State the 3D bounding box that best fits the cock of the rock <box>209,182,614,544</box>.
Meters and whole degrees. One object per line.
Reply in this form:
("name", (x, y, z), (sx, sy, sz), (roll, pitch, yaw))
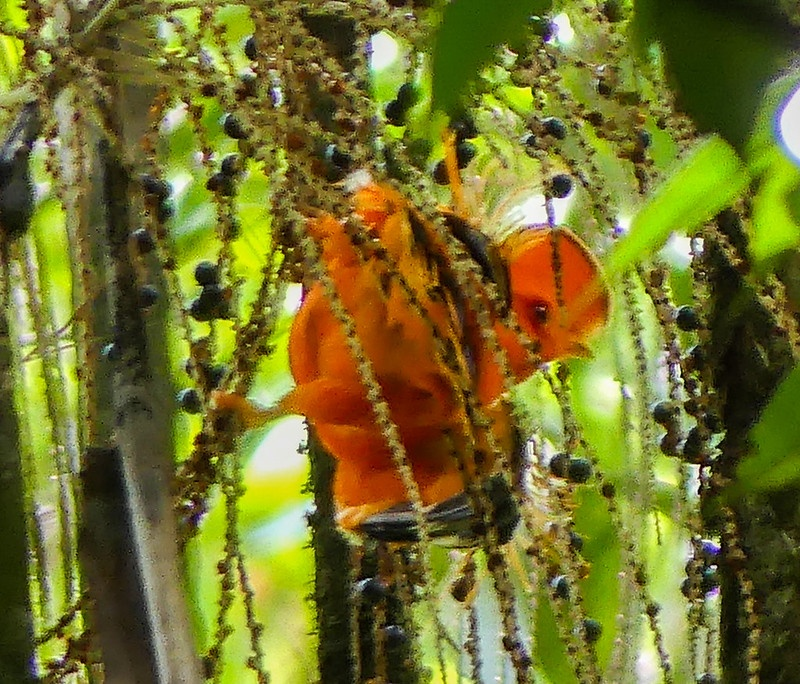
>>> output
("cock of the rock", (0.051, 0.044, 1.117), (0.124, 0.085, 0.259), (5, -46, 12))
